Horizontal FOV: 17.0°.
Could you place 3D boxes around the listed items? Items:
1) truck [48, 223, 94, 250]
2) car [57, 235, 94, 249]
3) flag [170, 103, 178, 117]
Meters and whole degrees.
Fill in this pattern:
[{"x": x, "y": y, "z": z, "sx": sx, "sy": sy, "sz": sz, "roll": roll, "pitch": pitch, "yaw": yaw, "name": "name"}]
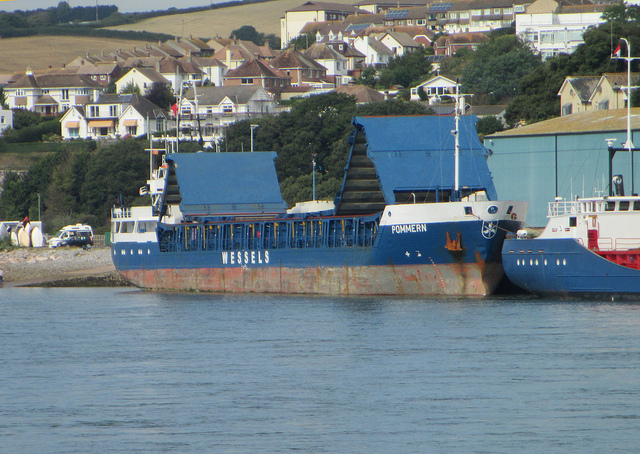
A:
[{"x": -27.087, "y": 0.848, "z": 229.272, "sx": 4.241, "sy": 2.639, "sz": 2.493, "roll": 1, "pitch": -2, "yaw": -20, "name": "truck"}, {"x": -26.012, "y": 1.773, "z": 228.091, "sx": 2.671, "sy": 1.405, "sz": 1.600, "roll": 2, "pitch": -3, "yaw": -8, "name": "car"}, {"x": -15.190, "y": -11.788, "z": 219.455, "sx": 1.150, "sy": 1.603, "sz": 0.563, "roll": 3, "pitch": 6, "yaw": 44, "name": "flag"}]
